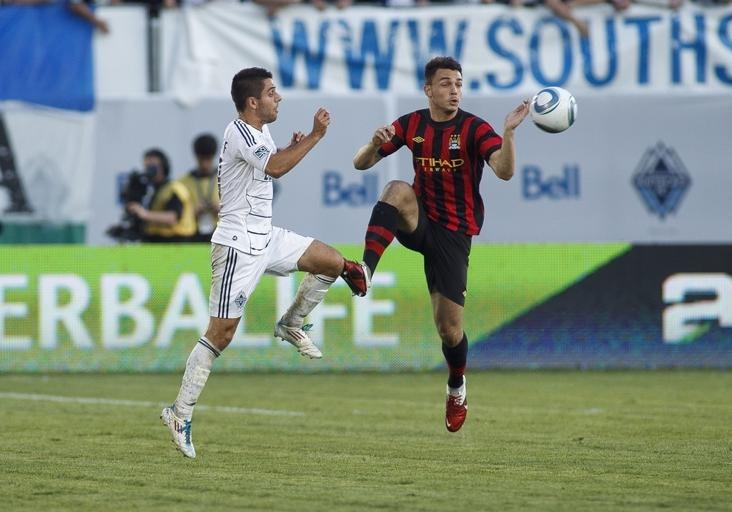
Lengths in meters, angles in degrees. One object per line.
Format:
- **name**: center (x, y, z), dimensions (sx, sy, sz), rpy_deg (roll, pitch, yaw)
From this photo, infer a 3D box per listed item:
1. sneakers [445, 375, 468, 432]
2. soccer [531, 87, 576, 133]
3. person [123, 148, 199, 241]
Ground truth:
- **sneakers**: center (0.811, 1.325, 12.722), dimensions (0.158, 0.504, 0.196), rpy_deg (1, -4, 10)
- **soccer**: center (1.632, -1.291, 12.344), dimensions (0.383, 0.395, 0.381), rpy_deg (-3, 10, 5)
- **person**: center (-2.182, -0.442, 14.766), dimensions (0.670, 1.372, 0.707), rpy_deg (7, 10, 9)
